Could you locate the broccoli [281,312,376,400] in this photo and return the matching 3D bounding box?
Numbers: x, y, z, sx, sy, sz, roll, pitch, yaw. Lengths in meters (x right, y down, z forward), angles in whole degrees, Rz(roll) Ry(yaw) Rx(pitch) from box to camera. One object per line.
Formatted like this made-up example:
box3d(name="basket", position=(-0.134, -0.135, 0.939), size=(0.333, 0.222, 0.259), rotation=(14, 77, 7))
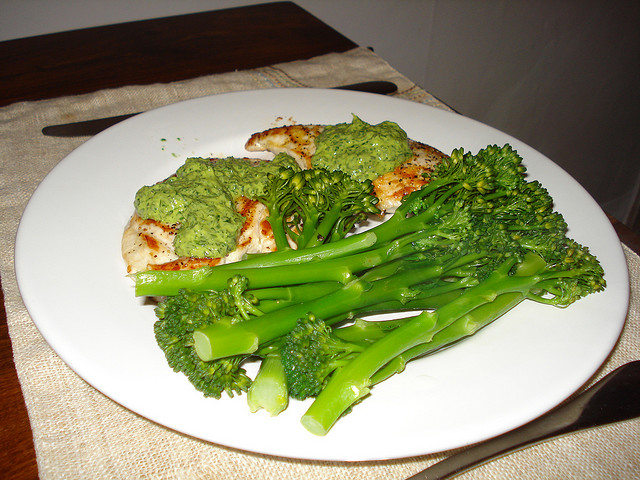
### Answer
box3d(name="broccoli", position=(-0.041, 0.615, 2.794), size=(0.461, 0.105, 0.358), rotation=(-44, 84, -9))
